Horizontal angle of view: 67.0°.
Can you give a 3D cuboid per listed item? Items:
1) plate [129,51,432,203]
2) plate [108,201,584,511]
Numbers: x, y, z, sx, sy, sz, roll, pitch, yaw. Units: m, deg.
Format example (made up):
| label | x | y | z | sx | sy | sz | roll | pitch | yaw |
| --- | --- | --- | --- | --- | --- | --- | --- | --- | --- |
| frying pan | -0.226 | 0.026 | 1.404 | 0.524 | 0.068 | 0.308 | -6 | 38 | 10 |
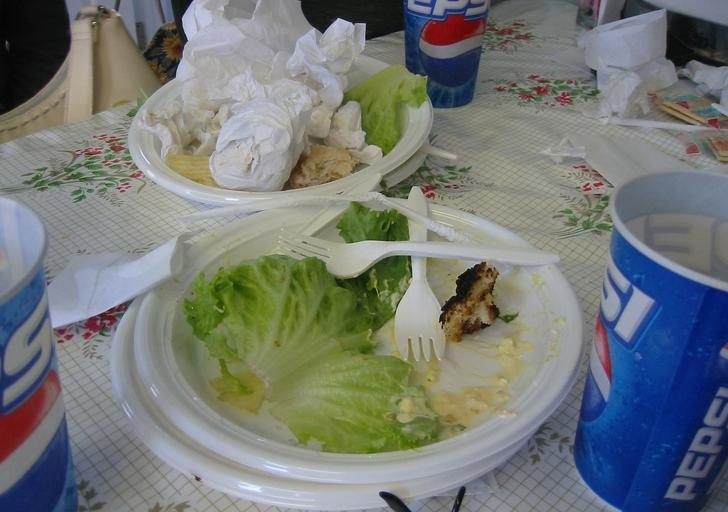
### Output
| label | x | y | z | sx | sy | sz | roll | pitch | yaw |
| --- | --- | --- | --- | --- | --- | --- | --- | --- | --- |
| plate | -0.151 | -0.187 | 0.914 | 0.515 | 0.070 | 0.319 | 6 | 48 | 4 |
| plate | -0.016 | 0.086 | 0.614 | 0.505 | 0.066 | 0.382 | 8 | 48 | 5 |
